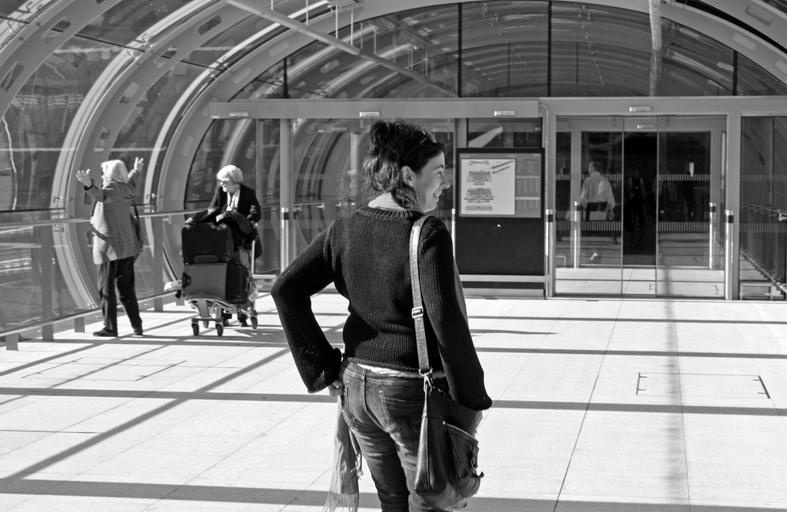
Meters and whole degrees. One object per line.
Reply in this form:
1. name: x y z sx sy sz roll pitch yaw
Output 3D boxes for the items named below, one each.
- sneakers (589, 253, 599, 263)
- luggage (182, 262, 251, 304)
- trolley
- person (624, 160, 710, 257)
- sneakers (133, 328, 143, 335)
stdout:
1. sneakers: 4.236 0.045 14.048 0.189 0.105 0.118 -19 26 12
2. luggage: -2.851 0.421 10.376 0.991 0.684 0.218 0 5 2
3. trolley: -2.819 0.291 10.776 1.174 1.699 1.317 2 -3 -3
4. person: 5.696 -1.057 14.185 1.414 2.190 0.713 4 12 7
5. sneakers: -4.064 1.192 10.474 0.107 0.106 0.113 2 -1 3
